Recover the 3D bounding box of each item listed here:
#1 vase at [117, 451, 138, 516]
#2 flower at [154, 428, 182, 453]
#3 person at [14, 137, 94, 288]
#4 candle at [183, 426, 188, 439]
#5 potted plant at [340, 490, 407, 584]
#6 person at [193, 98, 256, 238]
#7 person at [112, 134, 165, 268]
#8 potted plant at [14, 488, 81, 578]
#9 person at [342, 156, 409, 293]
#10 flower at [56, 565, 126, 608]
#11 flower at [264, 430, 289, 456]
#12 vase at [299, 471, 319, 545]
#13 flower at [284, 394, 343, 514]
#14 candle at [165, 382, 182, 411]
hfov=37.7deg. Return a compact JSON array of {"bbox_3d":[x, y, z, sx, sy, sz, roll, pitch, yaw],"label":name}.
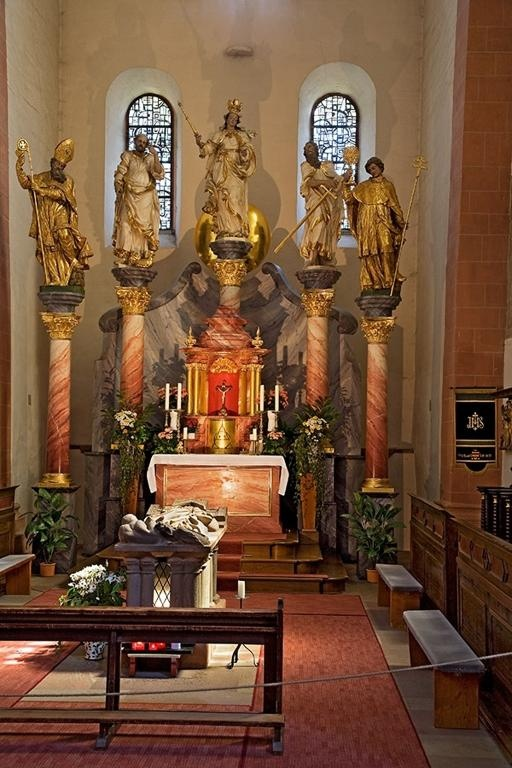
[{"bbox_3d":[-1.633,1.270,9.637,0.233,0.788,0.420,2,-6,-6],"label":"vase"},{"bbox_3d":[-1.145,0.772,9.758,0.363,0.398,0.337,3,-15,-3],"label":"flower"},{"bbox_3d":[-2.523,-2.128,9.422,0.712,1.744,1.352,0,-6,14],"label":"person"},{"bbox_3d":[-0.919,0.635,9.689,0.069,0.152,0.208,2,-6,-6],"label":"candle"},{"bbox_3d":[1.398,1.741,8.974,1.032,1.238,0.869,0,0,7],"label":"potted plant"},{"bbox_3d":[-0.399,-2.665,10.084,0.713,1.442,0.592,2,-6,-1],"label":"person"},{"bbox_3d":[-1.610,-2.453,10.142,0.624,1.759,0.602,3,-6,-12],"label":"person"},{"bbox_3d":[-2.451,1.745,8.989,0.567,1.019,0.769,3,-6,-13],"label":"potted plant"},{"bbox_3d":[1.512,-2.019,9.625,0.736,1.687,0.362,0,-6,10],"label":"person"},{"bbox_3d":[-1.214,1.515,5.627,0.414,0.273,0.449,2,-6,-3],"label":"flower"},{"bbox_3d":[0.283,0.735,9.544,0.316,0.316,0.307,5,9,41],"label":"flower"},{"bbox_3d":[0.662,1.548,9.461,0.236,0.834,0.352,1,-6,5],"label":"vase"},{"bbox_3d":[0.719,0.877,9.552,0.624,1.490,0.856,1,-6,3],"label":"flower"},{"bbox_3d":[-1.110,0.180,10.037,0.242,0.369,0.709,2,-6,-6],"label":"candle"}]
